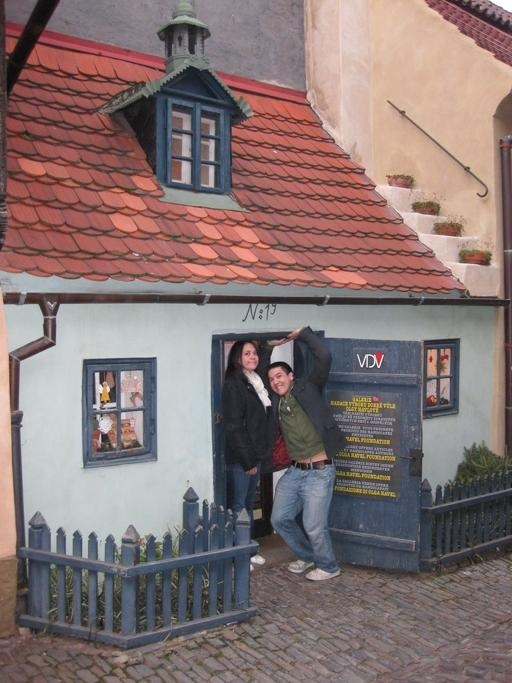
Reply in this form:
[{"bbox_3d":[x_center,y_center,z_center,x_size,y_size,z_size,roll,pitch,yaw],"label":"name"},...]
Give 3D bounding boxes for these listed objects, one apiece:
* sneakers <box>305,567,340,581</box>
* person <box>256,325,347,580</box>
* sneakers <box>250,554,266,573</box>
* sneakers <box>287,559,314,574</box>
[{"bbox_3d":[0.574,2.001,8.046,0.288,0.127,0.110,3,0,-22],"label":"sneakers"},{"bbox_3d":[0.426,0.983,8.117,0.638,2.124,0.410,4,6,28],"label":"person"},{"bbox_3d":[0.011,2.001,8.443,0.072,0.103,0.227,-5,-10,22],"label":"sneakers"},{"bbox_3d":[0.388,1.998,8.240,0.219,0.095,0.085,8,-10,-43],"label":"sneakers"}]
